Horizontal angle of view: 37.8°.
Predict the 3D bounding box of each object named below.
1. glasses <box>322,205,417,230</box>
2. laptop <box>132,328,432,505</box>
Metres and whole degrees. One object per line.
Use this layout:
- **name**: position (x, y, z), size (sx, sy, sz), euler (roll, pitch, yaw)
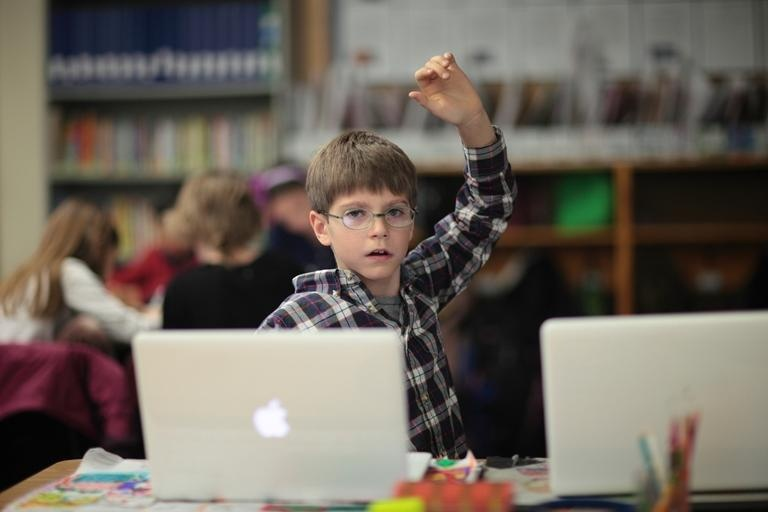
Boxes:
- **glasses**: position (-0.042, -0.122, 3.562), size (0.284, 0.067, 0.079), euler (-3, 8, -3)
- **laptop**: position (-0.326, 0.468, 3.263), size (0.778, 0.509, 0.047), euler (-2, 8, 4)
